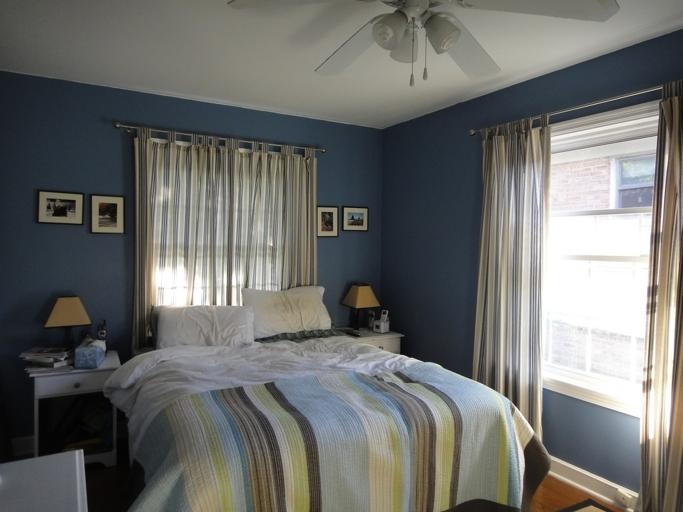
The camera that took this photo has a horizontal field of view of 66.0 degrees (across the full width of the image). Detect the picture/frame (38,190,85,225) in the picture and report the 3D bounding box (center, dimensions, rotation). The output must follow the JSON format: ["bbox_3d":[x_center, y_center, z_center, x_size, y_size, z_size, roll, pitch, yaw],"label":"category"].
[{"bbox_3d":[-2.364,-0.409,4.399,0.275,0.277,0.021,1,-2,-26],"label":"picture/frame"}]

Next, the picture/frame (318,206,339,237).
[{"bbox_3d":[-0.147,-0.370,5.530,0.298,0.387,0.018,0,0,-34],"label":"picture/frame"}]

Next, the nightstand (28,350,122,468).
[{"bbox_3d":[-2.187,1.122,4.370,0.626,0.821,0.545,2,26,-25],"label":"nightstand"}]

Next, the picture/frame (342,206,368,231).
[{"bbox_3d":[0.139,-0.409,5.684,0.254,0.228,0.017,0,-3,-32],"label":"picture/frame"}]

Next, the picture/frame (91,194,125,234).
[{"bbox_3d":[-2.025,-0.360,4.564,0.268,0.385,0.016,1,-29,-25],"label":"picture/frame"}]

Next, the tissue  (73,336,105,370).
[{"bbox_3d":[-1.996,0.765,4.151,0.156,0.153,0.303,2,0,-10],"label":"tissue "}]

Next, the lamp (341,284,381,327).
[{"bbox_3d":[0.196,0.506,5.650,0.420,0.589,0.414,1,1,-41],"label":"lamp"}]

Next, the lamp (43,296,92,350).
[{"bbox_3d":[-2.181,0.515,4.357,0.373,0.513,0.382,0,5,-26],"label":"lamp"}]
